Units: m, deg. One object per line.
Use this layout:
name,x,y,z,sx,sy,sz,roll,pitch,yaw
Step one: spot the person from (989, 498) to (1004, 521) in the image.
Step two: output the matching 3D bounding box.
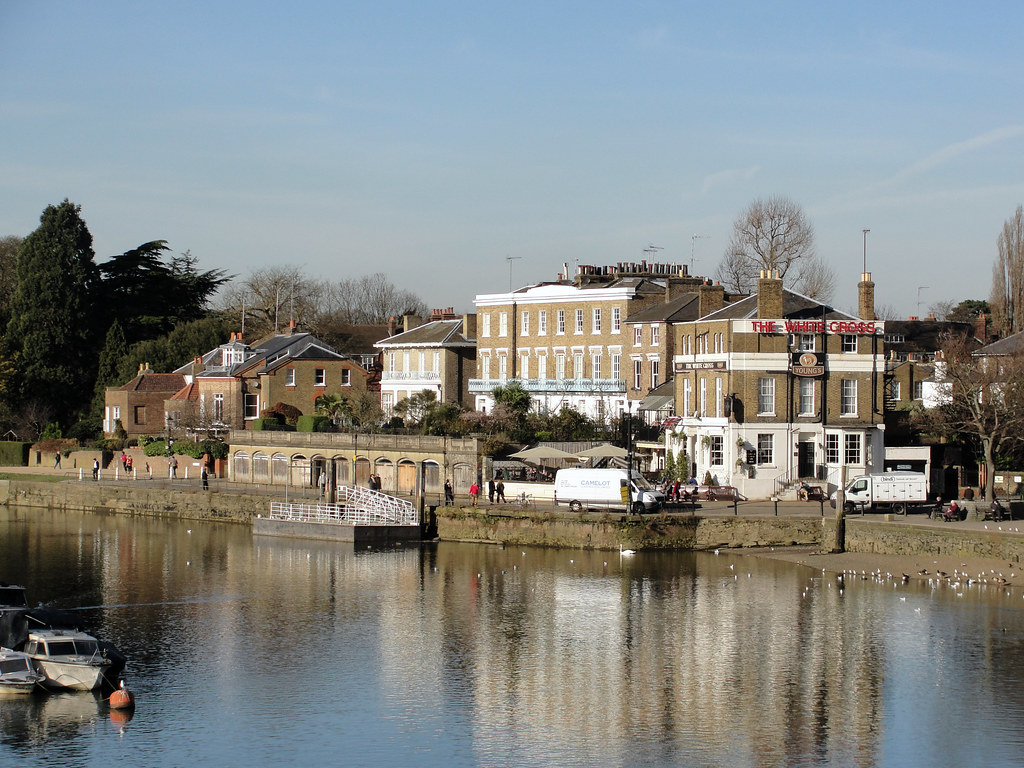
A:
person,27.277,7.309,126.309,0.612,1.046,1.502,0,11,12

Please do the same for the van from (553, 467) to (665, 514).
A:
van,5.667,6.464,132.569,5.922,2.352,2.460,-1,0,27

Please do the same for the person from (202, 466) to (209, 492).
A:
person,-20.827,6.686,152.352,0.486,1.671,1.470,2,-2,5

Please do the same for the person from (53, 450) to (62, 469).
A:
person,-35.236,6.056,174.135,0.598,1.126,1.548,-4,11,-11

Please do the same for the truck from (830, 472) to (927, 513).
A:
truck,21.694,6.536,131.412,4.724,2.138,2.334,0,-1,0
